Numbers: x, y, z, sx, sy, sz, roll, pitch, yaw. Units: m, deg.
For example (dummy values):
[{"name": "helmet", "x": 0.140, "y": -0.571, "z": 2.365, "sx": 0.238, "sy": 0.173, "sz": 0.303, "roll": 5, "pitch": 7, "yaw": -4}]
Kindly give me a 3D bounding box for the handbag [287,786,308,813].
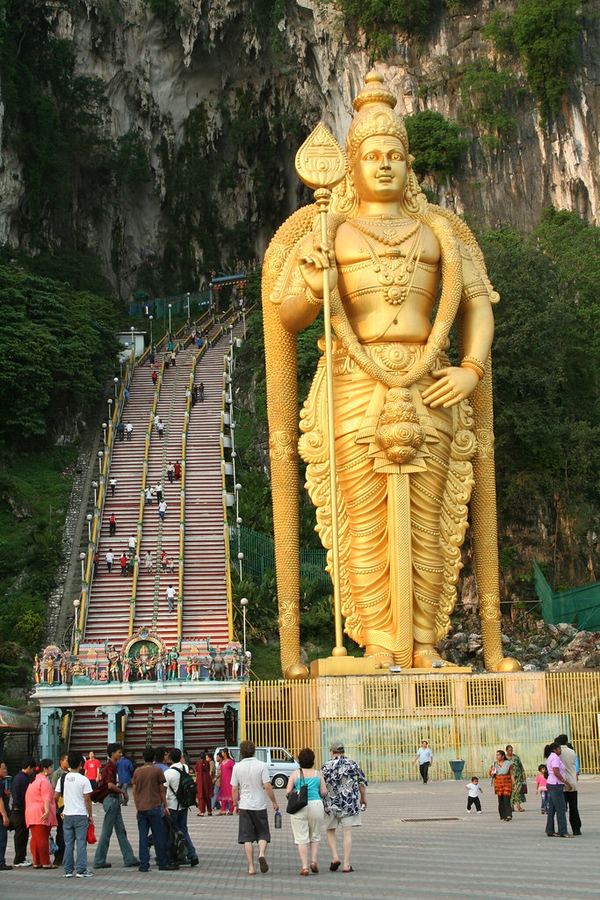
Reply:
[{"name": "handbag", "x": -0.007, "y": 2.228, "z": 7.571, "sx": 0.044, "sy": 0.184, "sz": 0.140, "roll": 15, "pitch": -19, "yaw": -34}]
